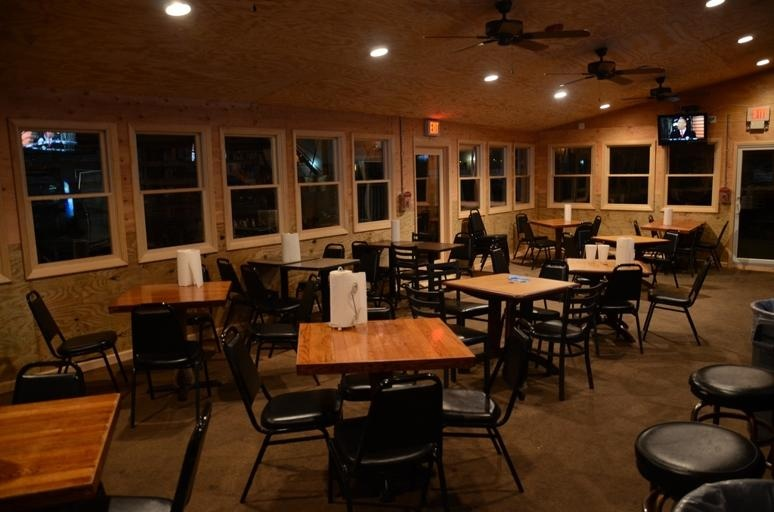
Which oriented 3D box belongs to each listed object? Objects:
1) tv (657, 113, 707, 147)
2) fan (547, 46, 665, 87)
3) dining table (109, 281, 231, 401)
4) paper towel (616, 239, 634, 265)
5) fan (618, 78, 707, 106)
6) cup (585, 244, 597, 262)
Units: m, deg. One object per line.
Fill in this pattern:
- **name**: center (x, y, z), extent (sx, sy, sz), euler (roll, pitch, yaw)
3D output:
- **tv**: center (6.044, -2.576, 10.902), extent (0.856, 0.497, 0.086), euler (3, 11, 32)
- **fan**: center (3.189, -2.733, 7.706), extent (1.338, 0.367, 1.196), euler (7, 8, 34)
- **dining table**: center (-2.156, 0.820, 5.585), extent (1.385, 1.020, 1.234), euler (-1, 2, 7)
- **paper towel**: center (2.968, -0.076, 6.679), extent (0.192, 0.303, 0.214), euler (-2, 7, 19)
- **fan**: center (5.276, -3.133, 10.464), extent (0.984, 0.249, 0.869), euler (-1, -1, -13)
- **cup**: center (2.693, -0.062, 7.059), extent (0.137, 0.209, 0.281), euler (-2, 6, 19)
